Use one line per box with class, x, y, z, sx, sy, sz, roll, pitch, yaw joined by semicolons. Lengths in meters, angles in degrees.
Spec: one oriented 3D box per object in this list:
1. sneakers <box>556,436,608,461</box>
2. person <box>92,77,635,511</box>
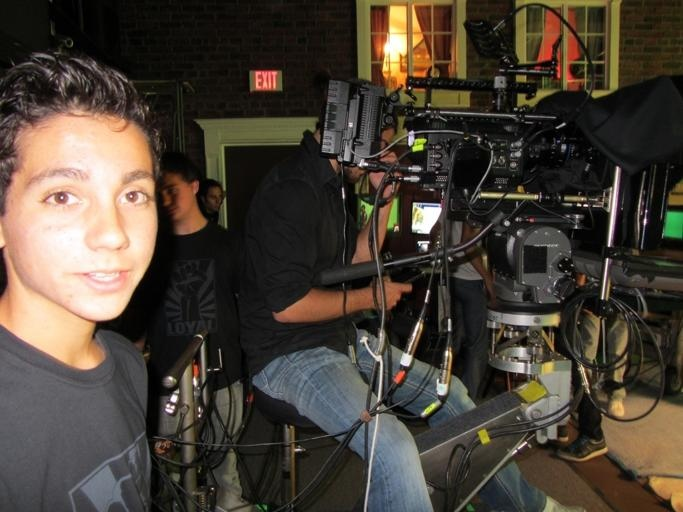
sneakers;1.429;1.150;3.658;0.307;0.141;0.126;-3;0;-11
person;-0.123;0.252;2.779;1.897;1.641;0.927;13;18;42
